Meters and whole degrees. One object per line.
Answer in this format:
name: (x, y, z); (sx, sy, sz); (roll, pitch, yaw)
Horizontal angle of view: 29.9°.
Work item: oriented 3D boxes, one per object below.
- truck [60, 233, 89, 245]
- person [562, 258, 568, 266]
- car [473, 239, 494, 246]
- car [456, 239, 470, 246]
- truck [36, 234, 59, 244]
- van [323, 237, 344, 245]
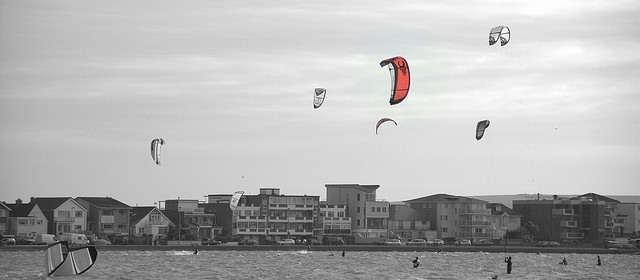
truck: (-25.537, 10.392, 124.256); (2.940, 1.190, 2.430); (1, -9, -10)
person: (24.441, 12.365, 120.749); (0.786, 0.549, 0.970); (15, -4, 16)
car: (17.545, 11.220, 130.044); (2.419, 0.789, 1.899); (1, -9, -13)
car: (15.382, 11.244, 129.915); (1.610, 0.724, 1.895); (-2, -8, 6)
truck: (-28.146, 10.262, 122.643); (2.847, 1.149, 1.651); (-1, 1, -32)
van: (1.289, 11.079, 131.691); (2.275, 0.951, 2.300); (-1, -8, 0)
